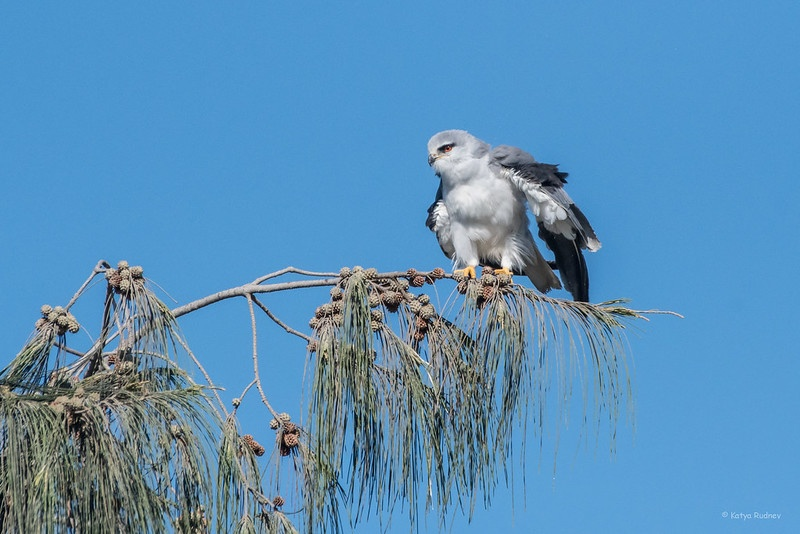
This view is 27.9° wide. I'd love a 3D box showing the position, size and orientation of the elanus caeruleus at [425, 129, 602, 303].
[{"bbox_3d":[0.709,-0.315,9.586,0.981,1.259,0.646,-19,-35,22],"label":"elanus caeruleus"}]
